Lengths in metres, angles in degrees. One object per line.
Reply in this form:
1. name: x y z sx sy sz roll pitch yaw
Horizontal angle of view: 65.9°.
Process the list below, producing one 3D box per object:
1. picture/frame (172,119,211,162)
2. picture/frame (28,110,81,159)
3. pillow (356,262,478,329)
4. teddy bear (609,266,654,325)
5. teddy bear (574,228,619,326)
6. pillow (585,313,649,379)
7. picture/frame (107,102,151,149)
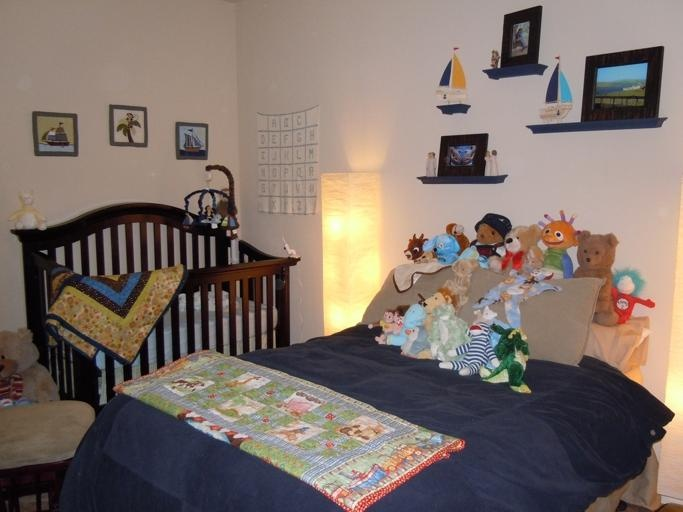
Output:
1. picture/frame: -1.282 -0.985 4.437 0.368 0.390 0.029 -2 2 -38
2. picture/frame: -2.075 -0.884 3.773 0.021 0.345 0.330 5 11 39
3. pillow: 0.448 0.190 3.116 0.451 0.144 0.459 -22 8 28
4. teddy bear: 1.554 0.221 2.811 0.228 0.227 0.063 22 -1 13
5. teddy bear: 1.342 0.115 2.834 0.298 0.481 0.283 8 16 42
6. pillow: 1.447 0.459 2.727 0.260 0.311 0.092 19 0 19
7. picture/frame: -1.674 -1.027 4.098 0.022 0.370 0.352 8 12 40
